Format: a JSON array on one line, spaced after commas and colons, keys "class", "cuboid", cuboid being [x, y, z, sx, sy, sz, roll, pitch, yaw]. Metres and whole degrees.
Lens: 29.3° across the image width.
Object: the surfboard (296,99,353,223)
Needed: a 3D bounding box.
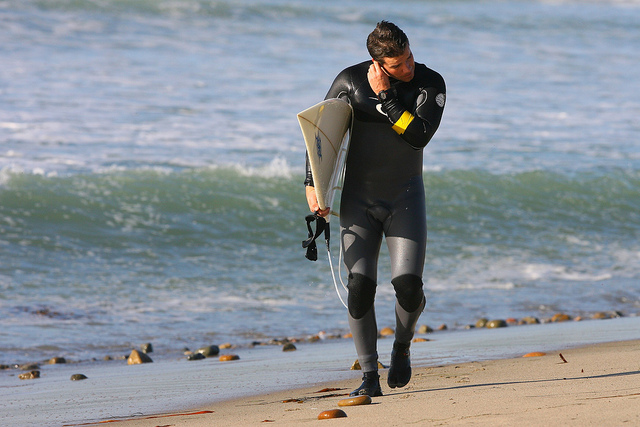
[{"class": "surfboard", "cuboid": [0.028, -1.006, 22.879, 0.681, 2.257, 0.804, 11, 16, 34]}]
